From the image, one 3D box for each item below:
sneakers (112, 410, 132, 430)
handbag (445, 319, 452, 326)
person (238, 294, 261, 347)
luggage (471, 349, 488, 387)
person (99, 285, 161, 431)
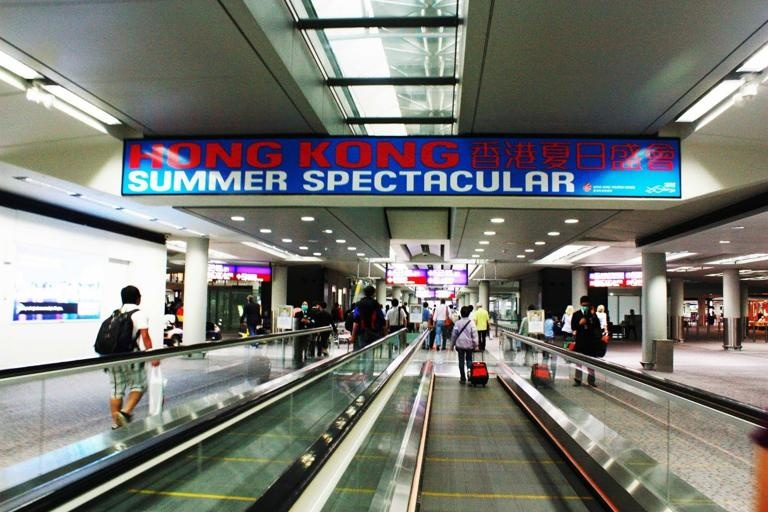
[{"bbox_3d":[-3.002,1.865,5.630,0.196,0.183,0.230,6,-11,-45],"label":"sneakers"},{"bbox_3d":[2.341,2.377,17.636,0.292,0.176,0.145,9,16,-5],"label":"handbag"},{"bbox_3d":[-4.720,2.062,17.317,0.634,1.420,1.538,0,-8,-15],"label":"person"},{"bbox_3d":[2.165,2.708,11.210,0.396,0.534,0.486,-3,-8,3],"label":"luggage"},{"bbox_3d":[-3.127,1.159,5.938,0.666,1.679,1.057,2,-9,-30],"label":"person"}]
